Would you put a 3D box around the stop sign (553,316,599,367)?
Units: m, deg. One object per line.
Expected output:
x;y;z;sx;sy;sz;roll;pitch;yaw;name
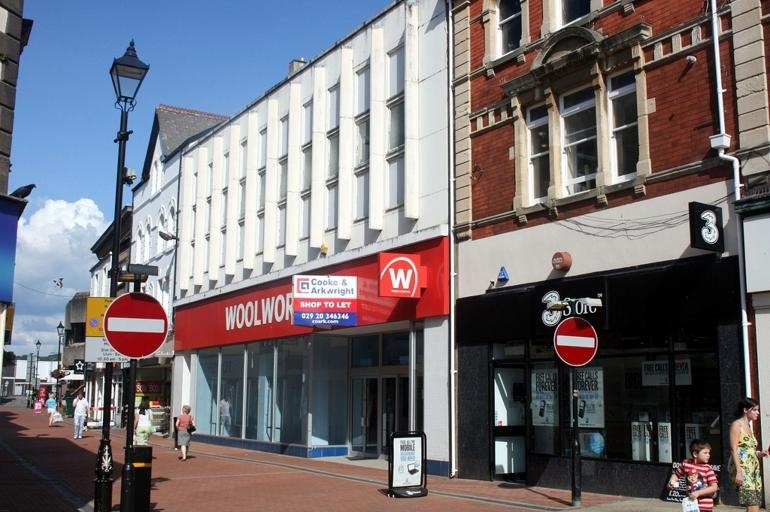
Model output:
4.318;1.908;18.791;1.146;1.267;0.160;2;-15;-12;stop sign

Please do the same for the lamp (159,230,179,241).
-9.921;-0.897;37.698;0.751;0.296;0.569;14;-9;-18;lamp
